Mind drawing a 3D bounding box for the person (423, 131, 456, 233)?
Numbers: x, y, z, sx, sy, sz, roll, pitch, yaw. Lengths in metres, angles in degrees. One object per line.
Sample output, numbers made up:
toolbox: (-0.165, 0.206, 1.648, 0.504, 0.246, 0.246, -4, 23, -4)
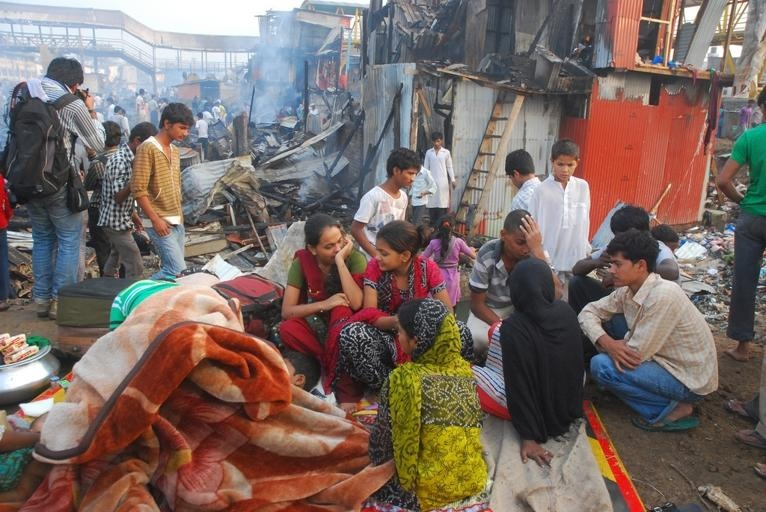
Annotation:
person: (0.939, -1.240, 10.450, 0.563, 1.697, 0.376, 5, 36, 8)

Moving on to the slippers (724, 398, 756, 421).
slippers: (3.312, 1.392, 5.694, 0.119, 0.133, 0.300, -11, 20, -33)

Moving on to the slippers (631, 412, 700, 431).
slippers: (2.594, 1.537, 5.644, 0.555, 0.158, 0.210, -3, 7, -2)

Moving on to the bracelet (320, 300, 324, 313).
bracelet: (-0.566, 0.489, 5.804, 0.046, 0.115, 0.114, 0, 14, -10)

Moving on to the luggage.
luggage: (-1.321, 0.501, 6.334, 0.645, 0.506, 0.687, 5, 14, 9)
